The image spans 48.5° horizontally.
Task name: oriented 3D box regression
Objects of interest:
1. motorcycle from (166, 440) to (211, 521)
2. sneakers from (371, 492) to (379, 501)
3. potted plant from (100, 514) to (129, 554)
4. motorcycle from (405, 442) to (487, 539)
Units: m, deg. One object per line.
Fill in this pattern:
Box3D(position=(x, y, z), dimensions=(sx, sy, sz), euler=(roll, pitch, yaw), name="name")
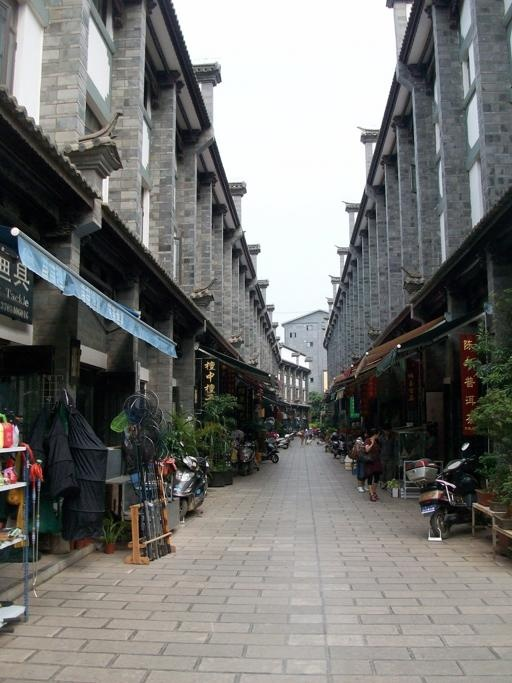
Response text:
Box3D(position=(-1.122, 2.323, 9.685), dimensions=(0.552, 1.316, 1.920), euler=(-3, -12, -4), name="motorcycle")
Box3D(position=(2.541, 3.301, 12.149), dimensions=(0.100, 0.137, 0.317), euler=(-2, -9, 5), name="sneakers")
Box3D(position=(-1.762, 2.359, 6.976), dimensions=(0.322, 0.452, 0.414), euler=(-12, -23, 33), name="potted plant")
Box3D(position=(2.651, 2.181, 8.004), dimensions=(0.914, 1.061, 0.615), euler=(1, -12, -20), name="motorcycle")
